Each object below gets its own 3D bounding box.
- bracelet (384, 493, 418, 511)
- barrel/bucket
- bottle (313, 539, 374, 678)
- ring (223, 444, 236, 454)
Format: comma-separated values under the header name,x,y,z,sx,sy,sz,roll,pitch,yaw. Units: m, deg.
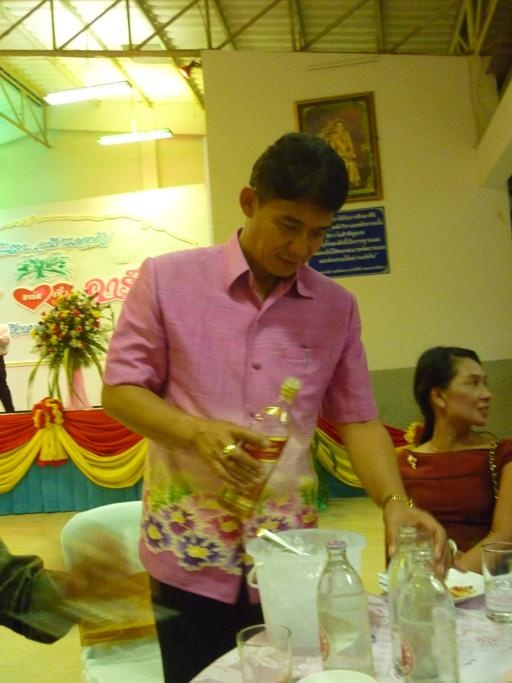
name,x,y,z,sx,sy,sz,roll,pitch,yaw
bracelet,0.242,0.276,0.943,0.050,0.027,0.074,-2,4,12
barrel/bucket,0.051,0.324,0.830,0.215,0.147,0.205,-1,-4,0
bottle,0.110,0.334,0.699,0.067,0.202,0.115,-3,4,5
ring,-0.036,0.154,0.799,0.014,0.005,0.016,-7,31,9
